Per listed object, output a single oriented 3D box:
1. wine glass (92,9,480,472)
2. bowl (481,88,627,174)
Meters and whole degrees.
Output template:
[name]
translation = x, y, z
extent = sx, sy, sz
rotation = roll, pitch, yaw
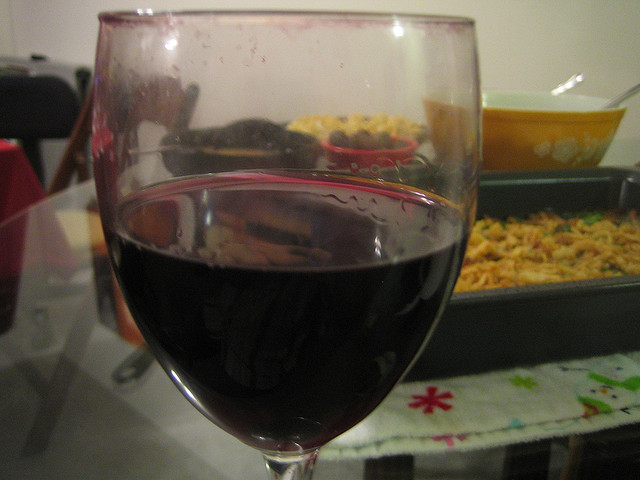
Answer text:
[wine glass]
translation = -0.010, -0.007, 0.304
extent = 0.177, 0.274, 0.180
rotation = 1, 9, -2
[bowl]
translation = 0.267, -0.127, 0.670
extent = 0.177, 0.066, 0.180
rotation = 2, 17, -1
